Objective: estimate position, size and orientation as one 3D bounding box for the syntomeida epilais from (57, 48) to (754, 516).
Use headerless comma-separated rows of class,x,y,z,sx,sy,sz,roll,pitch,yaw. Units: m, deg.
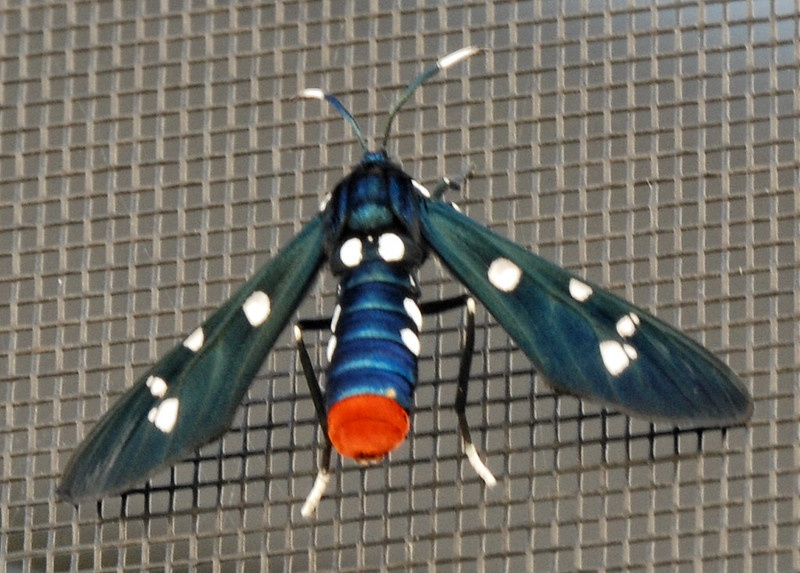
syntomeida epilais,-0.050,-0.021,9.992,2.191,1.625,0.459,-10,-41,7
